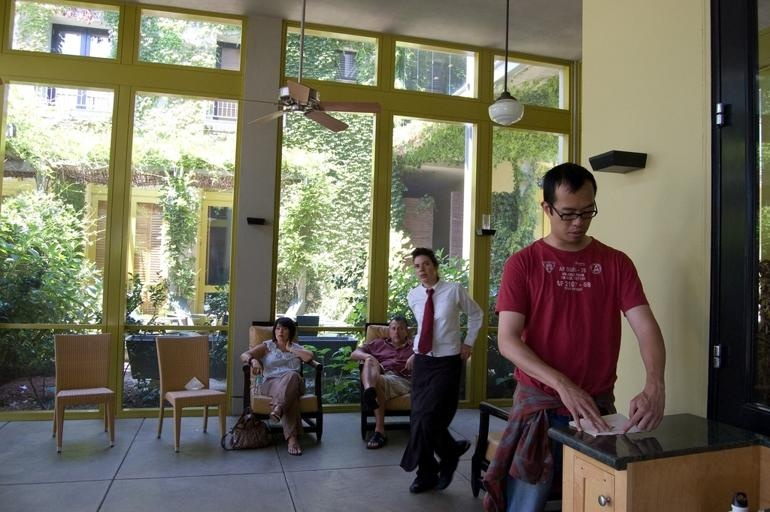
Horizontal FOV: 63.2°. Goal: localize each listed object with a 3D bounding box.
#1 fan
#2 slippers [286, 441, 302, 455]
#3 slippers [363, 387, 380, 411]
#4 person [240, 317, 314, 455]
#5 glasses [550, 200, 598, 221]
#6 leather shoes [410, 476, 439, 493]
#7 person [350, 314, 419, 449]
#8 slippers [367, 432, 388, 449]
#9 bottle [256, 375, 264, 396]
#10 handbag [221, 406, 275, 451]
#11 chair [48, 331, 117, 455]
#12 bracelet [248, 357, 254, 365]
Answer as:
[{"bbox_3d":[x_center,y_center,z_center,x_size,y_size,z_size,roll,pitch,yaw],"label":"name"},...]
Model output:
[{"bbox_3d":[-0.910,-2.183,7.149,1.303,1.404,1.295,8,-12,-33],"label":"fan"},{"bbox_3d":[-0.886,1.861,6.127,0.148,0.115,0.209,0,7,-10],"label":"slippers"},{"bbox_3d":[-0.137,1.423,6.277,0.120,0.279,0.118,-13,44,-8],"label":"slippers"},{"bbox_3d":[-1.149,1.381,6.474,0.658,0.823,1.370,10,42,-22],"label":"person"},{"bbox_3d":[1.156,-0.268,3.796,0.289,0.112,0.098,1,6,-7],"label":"glasses"},{"bbox_3d":[0.351,1.974,5.431,0.323,0.129,0.107,7,-13,-38],"label":"leather shoes"},{"bbox_3d":[0.023,1.264,6.591,0.772,1.197,1.748,1,0,8],"label":"person"},{"bbox_3d":[-0.088,1.850,6.413,0.209,0.147,0.340,2,6,0],"label":"slippers"},{"bbox_3d":[-1.288,1.337,6.479,0.106,0.179,0.048,-1,-15,10],"label":"bottle"},{"bbox_3d":[-1.364,1.736,6.220,0.441,0.398,0.289,0,-8,-18],"label":"handbag"},{"bbox_3d":[-3.081,1.315,6.339,0.543,1.059,0.903,-2,7,-29],"label":"chair"},{"bbox_3d":[-1.375,1.080,6.410,0.052,0.052,0.053,1,-5,9],"label":"bracelet"}]
